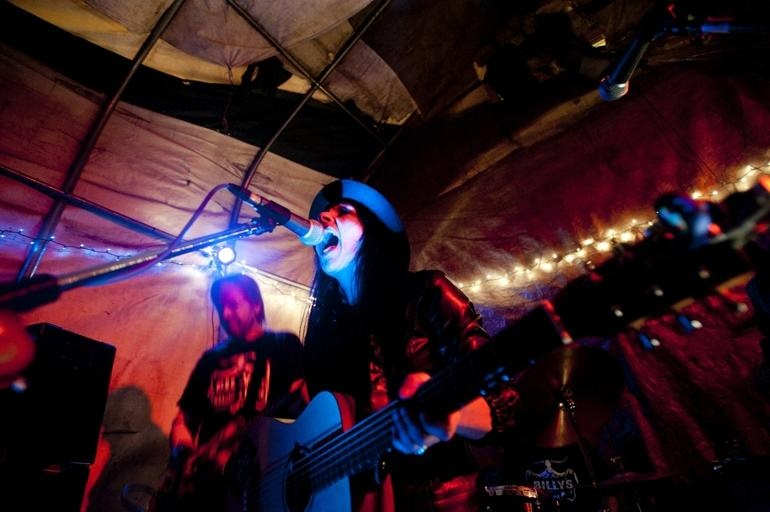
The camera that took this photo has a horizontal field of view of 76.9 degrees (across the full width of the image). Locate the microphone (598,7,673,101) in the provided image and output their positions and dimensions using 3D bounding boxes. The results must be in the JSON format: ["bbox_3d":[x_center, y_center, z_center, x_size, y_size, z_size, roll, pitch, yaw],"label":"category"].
[{"bbox_3d":[1.937,-1.514,3.844,0.271,0.230,0.838,26,-26,17],"label":"microphone"}]
